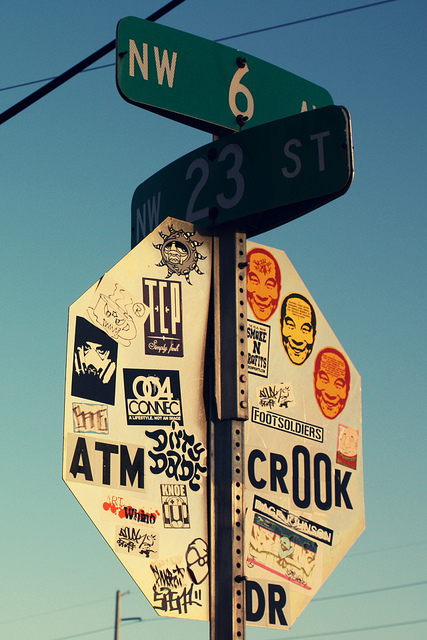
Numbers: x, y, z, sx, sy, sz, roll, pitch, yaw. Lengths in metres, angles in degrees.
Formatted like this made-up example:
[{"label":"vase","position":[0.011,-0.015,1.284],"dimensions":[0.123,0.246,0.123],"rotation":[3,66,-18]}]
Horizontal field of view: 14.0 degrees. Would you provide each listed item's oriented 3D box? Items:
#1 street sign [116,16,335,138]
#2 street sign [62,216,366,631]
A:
[{"label":"street sign","position":[0.049,-0.597,4.893],"dimensions":[0.666,0.318,0.171],"rotation":[16,-32,-19]},{"label":"street sign","position":[-0.021,0.296,4.559],"dimensions":[0.738,1.059,0.013],"rotation":[16,-23,-42]}]
